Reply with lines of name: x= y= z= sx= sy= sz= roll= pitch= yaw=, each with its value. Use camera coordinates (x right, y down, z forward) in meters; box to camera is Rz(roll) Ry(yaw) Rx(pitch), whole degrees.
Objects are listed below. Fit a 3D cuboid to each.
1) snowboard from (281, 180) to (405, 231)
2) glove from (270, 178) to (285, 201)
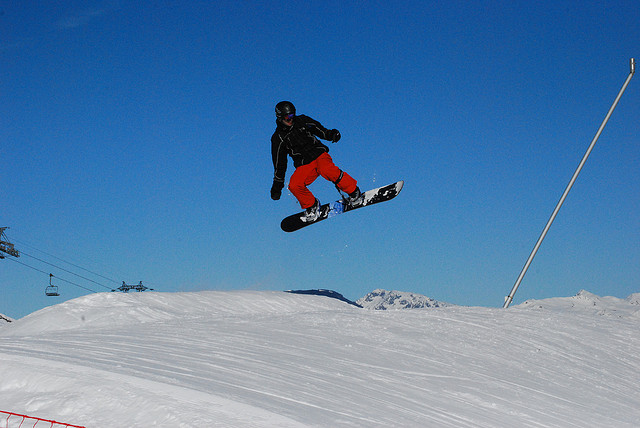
snowboard: x=0.567 y=-0.228 z=15.982 sx=3.535 sy=0.441 sz=0.178 roll=-17 pitch=-46 yaw=22
glove: x=-0.910 y=-0.573 z=13.504 sx=0.289 sy=0.769 sz=0.567 roll=2 pitch=11 yaw=-1
